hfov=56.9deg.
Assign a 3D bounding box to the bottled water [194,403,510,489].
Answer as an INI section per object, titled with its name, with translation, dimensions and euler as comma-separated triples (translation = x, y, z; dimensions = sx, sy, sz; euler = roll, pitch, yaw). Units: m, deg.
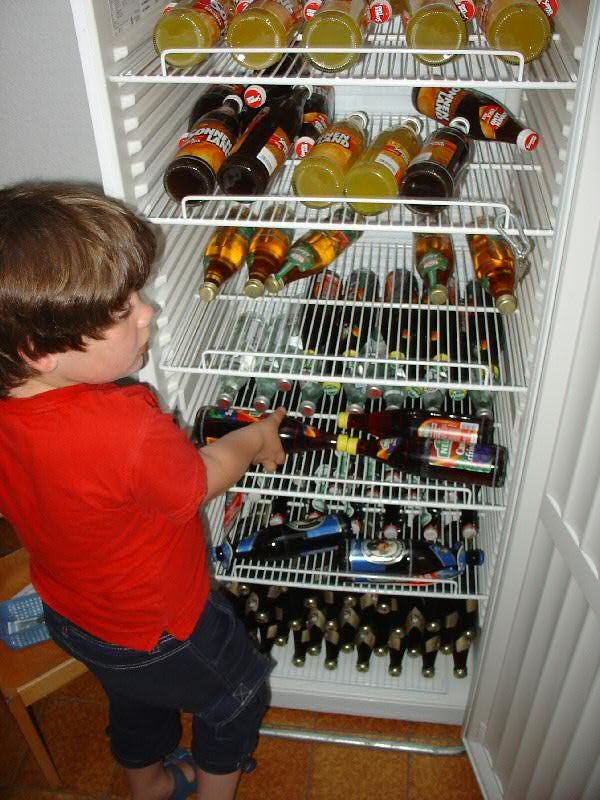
[bottled water]
translation = 0.116, 0.098, 1.143
dimensions = 0.521, 0.104, 0.092
euler = 11, 32, 26
